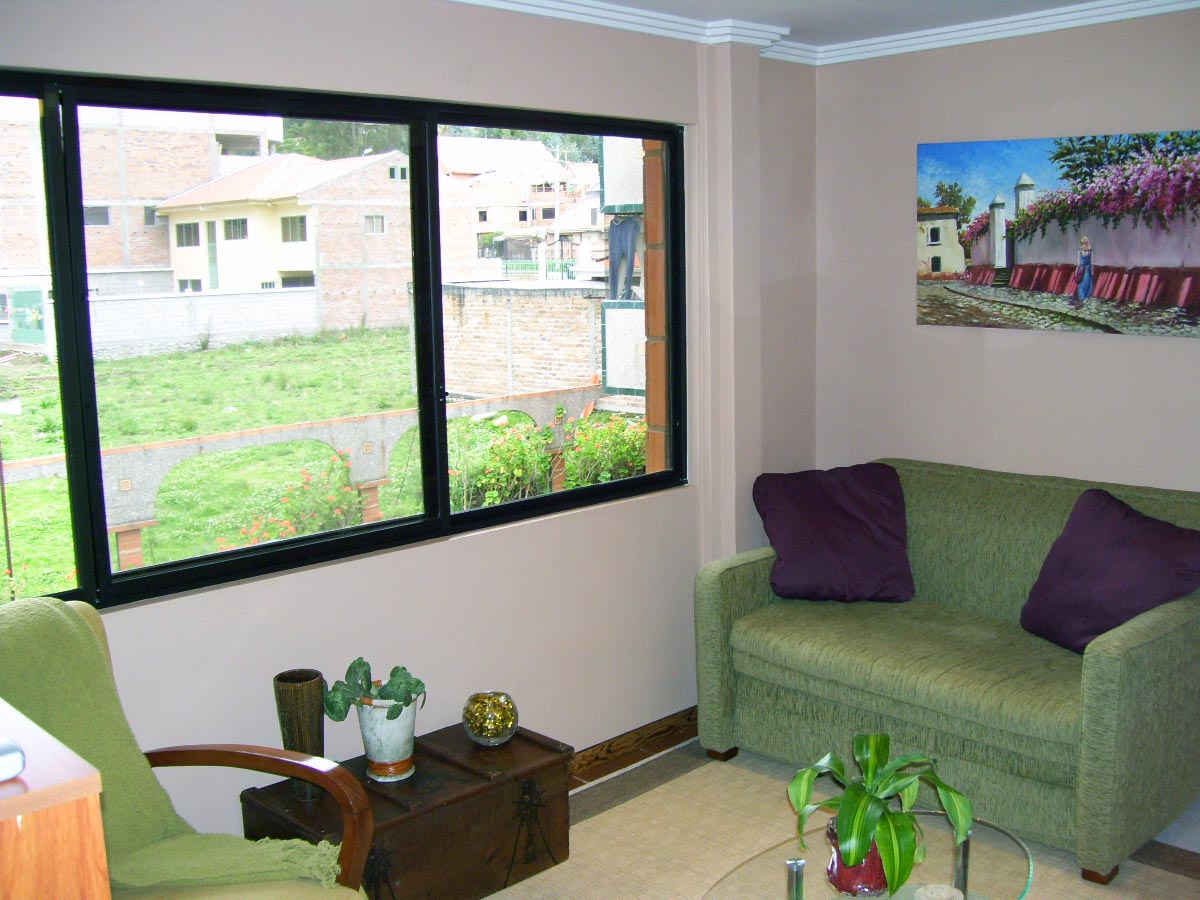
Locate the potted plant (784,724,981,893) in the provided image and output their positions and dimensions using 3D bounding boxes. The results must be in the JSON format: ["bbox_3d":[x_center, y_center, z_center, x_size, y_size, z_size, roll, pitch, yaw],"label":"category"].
[{"bbox_3d":[0.726,0.901,2.357,0.428,0.425,0.535,2,12,22],"label":"potted plant"}]
